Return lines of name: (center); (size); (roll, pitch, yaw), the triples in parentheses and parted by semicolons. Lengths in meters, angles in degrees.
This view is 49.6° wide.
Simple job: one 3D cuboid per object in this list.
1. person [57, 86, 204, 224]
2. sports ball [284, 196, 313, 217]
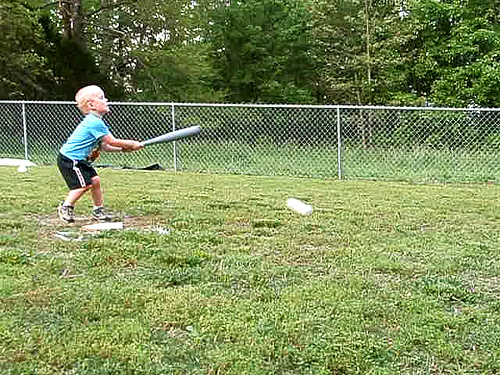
person: (-1.454, -0.312, 5.414); (1.101, 1.361, 0.857); (4, 15, 13)
sports ball: (0.536, 0.221, 6.008); (0.145, 0.135, 0.459); (-4, 14, -18)
